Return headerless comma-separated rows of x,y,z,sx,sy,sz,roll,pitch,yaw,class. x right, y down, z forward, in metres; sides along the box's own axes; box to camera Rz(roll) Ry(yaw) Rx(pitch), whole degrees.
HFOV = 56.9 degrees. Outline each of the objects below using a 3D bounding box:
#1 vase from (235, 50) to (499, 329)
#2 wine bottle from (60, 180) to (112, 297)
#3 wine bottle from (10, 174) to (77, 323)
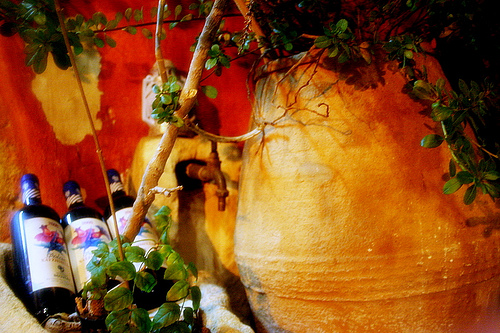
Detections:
0.246,0.125,1.287,0.621,0.688,0.623,-11,-14,-4,vase
-0.415,0.174,1.172,0.094,0.292,0.096,-19,-22,-8,wine bottle
-0.507,0.177,1.121,0.110,0.383,0.101,-18,-31,-11,wine bottle
